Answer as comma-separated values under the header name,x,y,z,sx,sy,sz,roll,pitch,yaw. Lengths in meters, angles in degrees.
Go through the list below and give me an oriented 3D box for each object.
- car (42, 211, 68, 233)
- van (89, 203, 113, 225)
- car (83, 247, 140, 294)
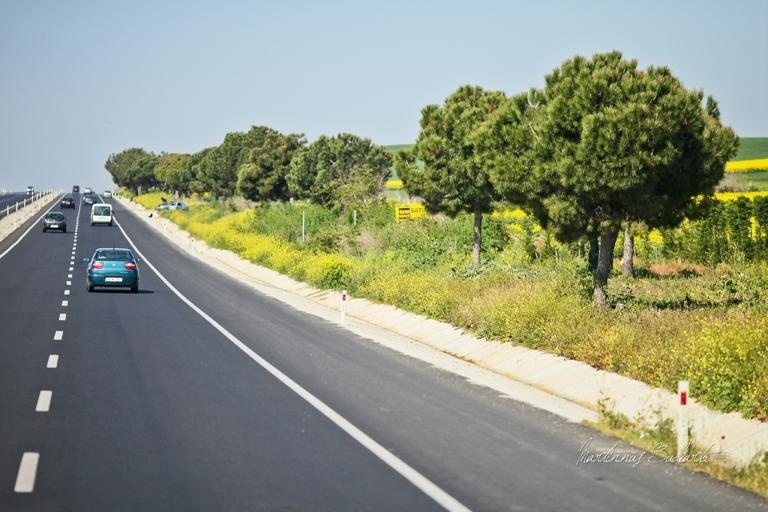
name,x,y,z,sx,sy,sz,roll,pitch,yaw
car,-30.755,-3.206,61.626,1.901,1.761,1.853,0,6,-11
van,-30.216,-4.370,70.477,1.964,2.317,2.264,-2,7,-27
car,-11.636,0.645,28.303,1.976,1.786,1.420,0,6,-8
